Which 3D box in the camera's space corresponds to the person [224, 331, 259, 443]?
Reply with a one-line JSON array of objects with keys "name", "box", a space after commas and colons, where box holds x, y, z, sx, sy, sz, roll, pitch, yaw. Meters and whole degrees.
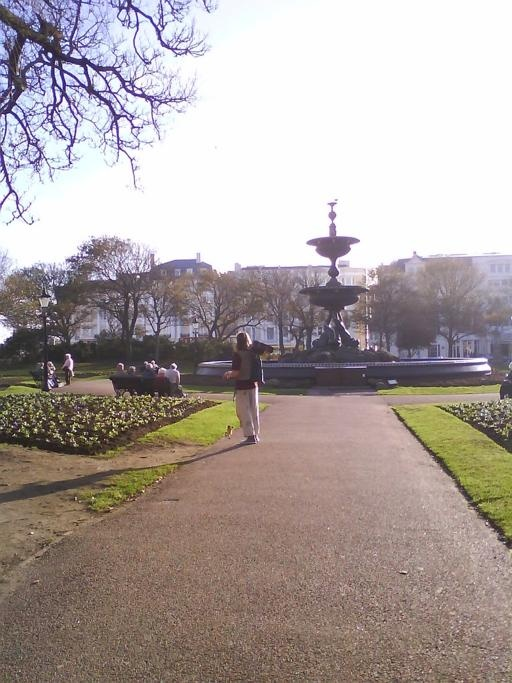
[{"name": "person", "box": [-0.192, 0.805, 10.316, 0.493, 1.897, 1.230, -3, 2, -2]}]

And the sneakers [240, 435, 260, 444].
[{"name": "sneakers", "box": [-0.082, 1.659, 10.634, 0.205, 0.221, 0.132, 0, 2, 18]}]

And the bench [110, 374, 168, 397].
[{"name": "bench", "box": [-3.516, 1.414, 19.503, 2.004, 0.451, 0.718, -2, 2, 20]}]

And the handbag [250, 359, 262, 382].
[{"name": "handbag", "box": [0.024, 0.469, 10.134, 0.128, 0.394, 0.267, -2, 2, 11]}]
